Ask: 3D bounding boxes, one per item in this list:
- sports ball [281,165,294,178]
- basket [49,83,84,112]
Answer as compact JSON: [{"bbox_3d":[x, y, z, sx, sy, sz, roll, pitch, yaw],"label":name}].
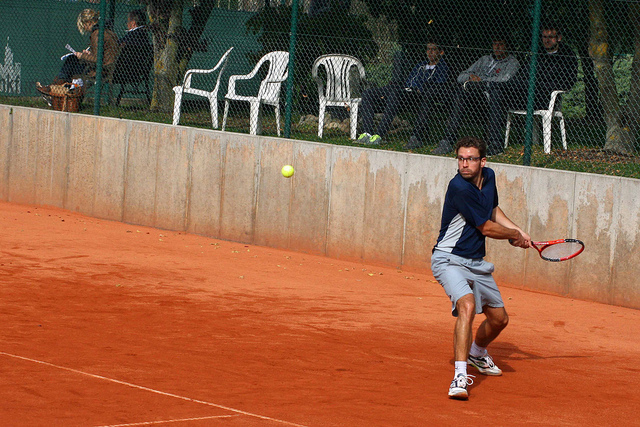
[{"bbox_3d":[-0.572,-0.773,20.186,0.179,0.201,0.185,4,12,-1],"label":"sports ball"},{"bbox_3d":[-5.259,-2.353,23.867,0.597,0.599,0.808,2,0,38],"label":"basket"}]
